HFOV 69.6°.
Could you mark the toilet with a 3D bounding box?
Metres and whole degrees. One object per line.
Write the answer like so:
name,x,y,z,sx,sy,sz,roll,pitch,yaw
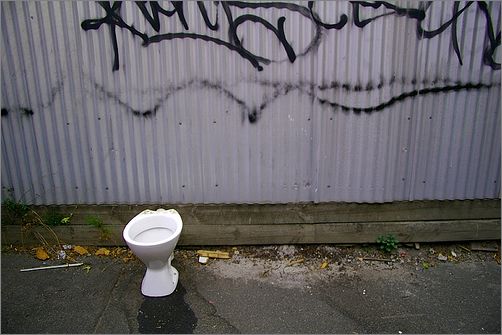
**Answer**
toilet,-1.321,1.245,5.044,0.692,0.918,1.017,-2,15,-7
